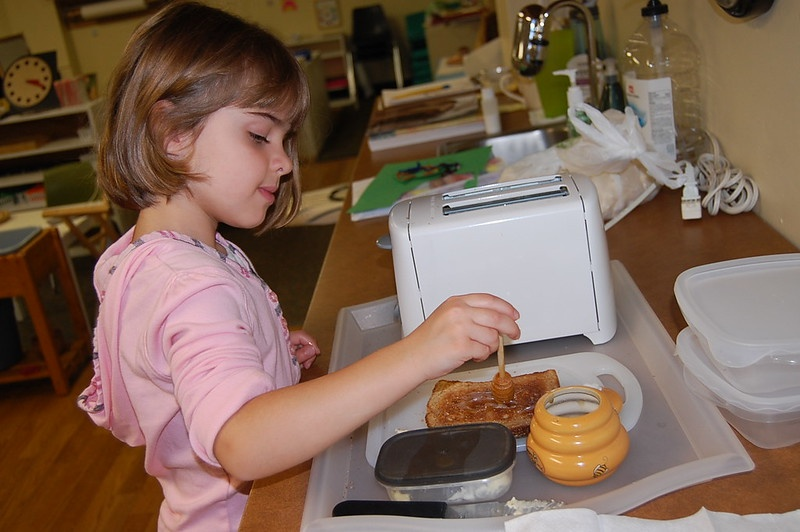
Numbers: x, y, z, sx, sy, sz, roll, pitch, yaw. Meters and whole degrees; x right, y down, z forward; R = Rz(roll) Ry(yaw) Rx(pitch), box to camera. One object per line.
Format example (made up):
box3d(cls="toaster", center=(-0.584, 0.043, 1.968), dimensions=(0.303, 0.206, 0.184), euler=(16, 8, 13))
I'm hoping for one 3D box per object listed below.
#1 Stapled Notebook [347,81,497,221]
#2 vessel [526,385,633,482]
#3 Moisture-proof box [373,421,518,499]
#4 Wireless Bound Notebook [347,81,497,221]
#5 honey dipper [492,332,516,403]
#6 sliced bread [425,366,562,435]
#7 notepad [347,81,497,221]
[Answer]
box3d(cls="Stapled Notebook", center=(0.028, -0.361, 1.906), dimensions=(0.334, 0.085, 0.338), euler=(-16, 28, 20))
box3d(cls="vessel", center=(0.275, 0.257, 0.922), dimensions=(0.144, 0.121, 0.187), euler=(-4, 14, 25))
box3d(cls="Moisture-proof box", center=(0.072, 0.286, 0.883), dimensions=(0.159, 0.052, 0.117), euler=(-9, 31, 13))
box3d(cls="Wireless Bound Notebook", center=(0.019, -0.377, 1.890), dimensions=(0.334, 0.085, 0.338), euler=(-16, 28, 20))
box3d(cls="honey dipper", center=(0.168, 0.158, 0.993), dimensions=(0.037, 0.124, 0.069), euler=(-6, 26, 10))
box3d(cls="sliced bread", center=(0.153, 0.228, 1.000), dimensions=(0.163, 0.035, 0.110), euler=(-9, 31, 8))
box3d(cls="notepad", center=(0.009, -0.376, 1.880), dimensions=(0.334, 0.085, 0.338), euler=(-16, 28, 20))
